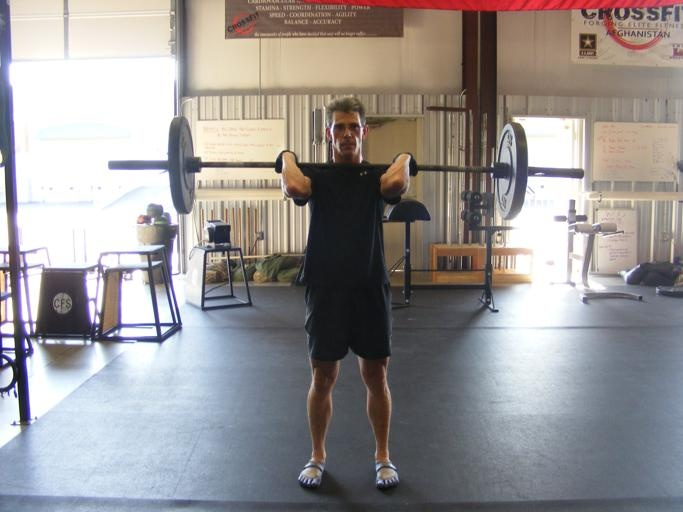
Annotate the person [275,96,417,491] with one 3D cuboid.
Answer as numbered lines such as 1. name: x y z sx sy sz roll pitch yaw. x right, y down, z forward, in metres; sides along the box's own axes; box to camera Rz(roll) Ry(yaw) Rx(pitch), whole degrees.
1. person: 0.041 0.261 4.887 0.900 2.817 0.389 -2 6 -2

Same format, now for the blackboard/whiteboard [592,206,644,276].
1. blackboard/whiteboard: 4.241 -0.237 10.374 0.680 1.027 0.247 -3 6 -10

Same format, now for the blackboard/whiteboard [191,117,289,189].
1. blackboard/whiteboard: -1.377 -1.481 9.231 1.334 1.060 0.064 0 1 -2
